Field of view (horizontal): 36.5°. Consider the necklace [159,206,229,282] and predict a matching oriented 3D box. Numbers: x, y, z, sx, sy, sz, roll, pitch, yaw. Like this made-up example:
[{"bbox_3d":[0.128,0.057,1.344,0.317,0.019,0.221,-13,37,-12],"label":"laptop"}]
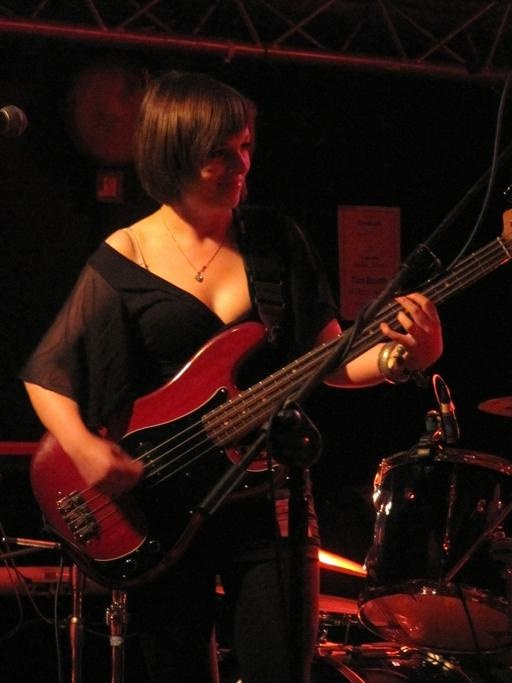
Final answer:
[{"bbox_3d":[-0.150,-0.232,1.888,0.206,0.159,0.047,0,-19,-3],"label":"necklace"}]
